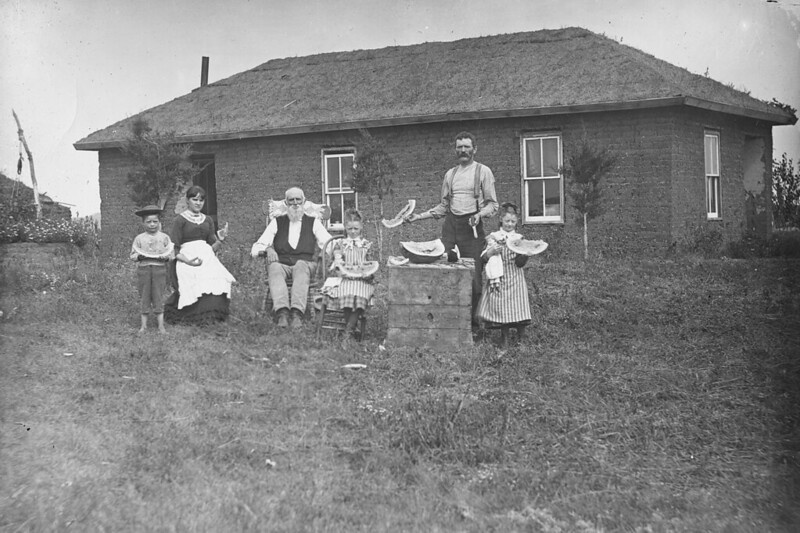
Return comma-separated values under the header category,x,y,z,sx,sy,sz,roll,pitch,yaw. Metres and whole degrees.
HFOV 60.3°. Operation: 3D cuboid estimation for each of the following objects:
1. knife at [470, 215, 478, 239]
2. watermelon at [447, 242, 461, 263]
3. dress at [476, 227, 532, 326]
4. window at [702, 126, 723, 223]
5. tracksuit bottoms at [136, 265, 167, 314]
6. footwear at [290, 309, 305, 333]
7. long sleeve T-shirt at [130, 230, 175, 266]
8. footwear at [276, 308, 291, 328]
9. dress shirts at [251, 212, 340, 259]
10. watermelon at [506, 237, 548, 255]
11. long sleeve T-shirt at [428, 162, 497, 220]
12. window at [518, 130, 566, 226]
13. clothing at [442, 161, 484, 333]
category,x,y,z,sx,sy,sz,roll,pitch,yaw
knife,0.939,-0.499,8.625,0.082,0.241,0.173,-2,29,1
watermelon,0.686,-0.161,8.666,0.160,0.219,0.305,2,1,7
dress,1.231,-0.041,8.500,0.457,0.381,0.776,-9,39,20
window,6.277,-1.841,13.940,0.638,1.769,0.131,-3,3,-33
tracksuit bottoms,-3.256,0.285,9.033,0.373,0.720,0.224,-1,12,-25
footwear,-1.371,0.700,9.099,0.174,0.244,0.360,2,1,-11
long sleeve T-shirt,-3.265,-0.222,9.086,0.554,0.476,0.379,0,-6,-23
footwear,-1.557,0.681,9.193,0.179,0.211,0.337,2,1,-10
dress shirts,-1.470,-0.438,9.621,1.232,0.585,0.373,-1,14,-19
watermelon,1.521,-0.229,8.322,0.466,0.200,0.224,2,1,-21
long sleeve T-shirt,0.809,-0.969,8.871,0.952,0.779,0.549,2,2,33
window,2.831,-1.729,13.763,0.888,1.752,0.413,2,1,10
clothing,0.848,-0.602,8.759,0.525,1.893,0.540,-2,-2,16
